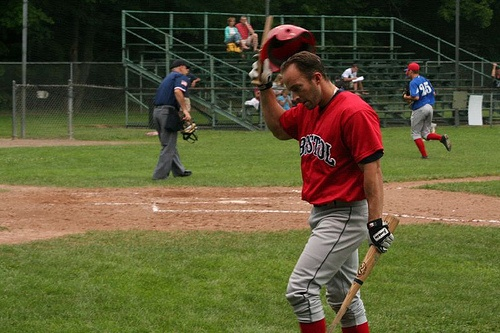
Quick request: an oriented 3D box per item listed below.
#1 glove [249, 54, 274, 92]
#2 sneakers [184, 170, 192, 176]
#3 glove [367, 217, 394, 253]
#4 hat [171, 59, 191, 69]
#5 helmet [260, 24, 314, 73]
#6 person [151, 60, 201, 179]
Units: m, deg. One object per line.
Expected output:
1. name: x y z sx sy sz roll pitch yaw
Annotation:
1. glove: 0.138 -1.121 7.942 0.324 0.399 0.169 -7 13 0
2. sneakers: -1.384 0.145 14.678 0.152 0.082 0.244 0 1 -1
3. glove: 1.478 0.762 7.313 0.292 0.364 0.160 -33 5 -23
4. hat: -1.534 -2.228 14.391 0.297 0.104 0.200 -2 0 -21
5. helmet: 0.444 -1.463 7.946 0.681 0.453 0.478 -13 42 -6
6. person: -1.686 -0.959 14.332 0.859 2.576 1.030 -1 14 -5
